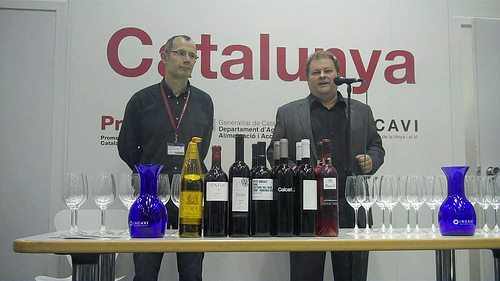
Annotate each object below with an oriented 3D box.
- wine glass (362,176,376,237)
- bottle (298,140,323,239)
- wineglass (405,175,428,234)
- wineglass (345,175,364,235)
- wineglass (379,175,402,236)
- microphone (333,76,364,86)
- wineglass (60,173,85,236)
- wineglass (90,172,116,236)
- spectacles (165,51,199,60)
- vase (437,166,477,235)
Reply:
[{"bbox_3d":[1.133,0.614,6.221,0.143,0.552,0.340,-3,-4,9],"label":"wine glass"},{"bbox_3d":[0.540,0.446,6.042,0.176,0.905,0.262,-5,-5,40],"label":"bottle"},{"bbox_3d":[1.603,0.614,6.340,0.205,0.560,0.285,-3,-4,8],"label":"wineglass"},{"bbox_3d":[0.989,0.613,6.293,0.158,0.553,0.325,-3,-4,8],"label":"wineglass"},{"bbox_3d":[1.343,0.611,6.254,0.171,0.555,0.239,-5,-5,34],"label":"wineglass"},{"bbox_3d":[1.007,-0.633,6.716,0.355,0.116,0.117,2,6,-3],"label":"microphone"},{"bbox_3d":[-1.688,0.600,6.182,0.197,0.575,0.281,2,-6,-42],"label":"wineglass"},{"bbox_3d":[-1.414,0.603,6.260,0.226,0.595,0.318,-1,-4,-15],"label":"wineglass"},{"bbox_3d":[-0.779,-1.008,7.749,0.316,0.108,0.014,-2,-4,-7],"label":"spectacles"},{"bbox_3d":[1.920,0.562,6.110,0.328,0.634,0.125,-1,-4,-17],"label":"vase"}]
